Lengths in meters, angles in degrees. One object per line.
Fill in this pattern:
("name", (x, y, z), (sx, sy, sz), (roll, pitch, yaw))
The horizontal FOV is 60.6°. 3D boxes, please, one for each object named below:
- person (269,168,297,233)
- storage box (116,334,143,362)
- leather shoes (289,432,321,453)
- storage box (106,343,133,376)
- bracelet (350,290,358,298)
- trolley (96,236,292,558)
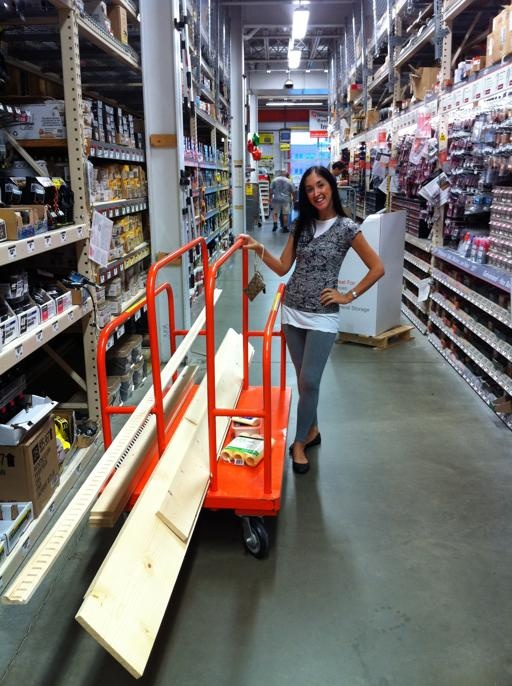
("person", (0.818, -4.406, 13.491), (0.612, 1.932, 0.539), (6, 41, 5))
("storage box", (-1.046, 0.043, 3.609), (0.144, 0.088, 0.314), (-1, 15, -1))
("leather shoes", (0.289, 0.610, 2.661), (0.080, 0.111, 0.248), (-9, 4, 39))
("storage box", (-1.083, 0.145, 3.451), (0.130, 0.151, 0.213), (-2, 9, 3))
("bracelet", (0.516, -0.254, 2.301), (0.031, 0.050, 0.048), (-5, -4, -4))
("trolley", (-0.018, 0.116, 2.386), (0.638, 1.200, 1.504), (3, 11, 18))
